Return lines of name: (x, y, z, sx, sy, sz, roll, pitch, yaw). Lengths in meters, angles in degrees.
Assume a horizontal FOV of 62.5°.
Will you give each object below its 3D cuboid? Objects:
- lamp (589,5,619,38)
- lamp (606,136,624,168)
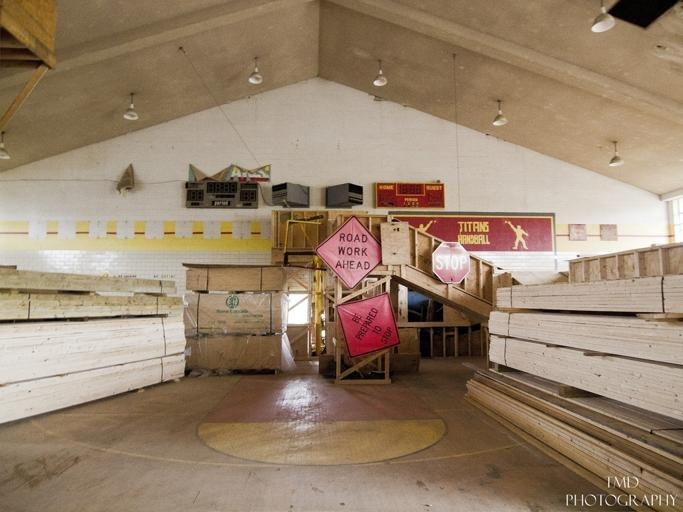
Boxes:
lamp: (4.852, -4.456, 10.360, 0.358, 0.551, 1.239, 8, 15, 24)
lamp: (7.206, -2.716, 14.681, 0.337, 0.700, 1.139, 8, 16, 24)
